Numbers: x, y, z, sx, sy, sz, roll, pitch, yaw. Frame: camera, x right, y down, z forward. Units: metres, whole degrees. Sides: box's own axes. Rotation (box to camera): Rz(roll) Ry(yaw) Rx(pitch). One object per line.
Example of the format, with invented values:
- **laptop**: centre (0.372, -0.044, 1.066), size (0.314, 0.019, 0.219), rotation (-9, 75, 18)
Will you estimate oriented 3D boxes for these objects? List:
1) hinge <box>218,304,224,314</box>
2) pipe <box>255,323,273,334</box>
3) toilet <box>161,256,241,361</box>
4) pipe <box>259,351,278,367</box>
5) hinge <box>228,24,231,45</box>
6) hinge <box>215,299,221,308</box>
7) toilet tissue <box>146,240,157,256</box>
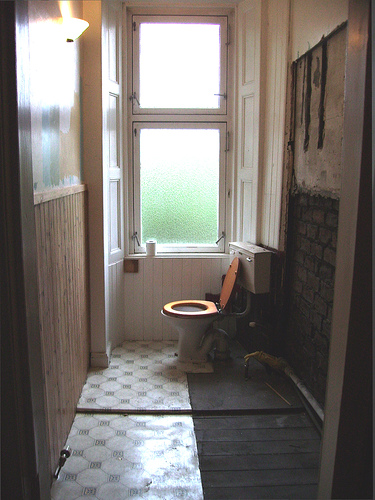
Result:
- **hinge**: centre (0.198, 0.353, 2.198), size (0.031, 0.053, 0.087), rotation (3, 4, -1)
- **pipe**: centre (0.475, 0.495, 2.296), size (0.070, 0.055, 0.190), rotation (4, 5, -9)
- **toilet**: centre (0.080, 0.361, 2.548), size (0.538, 1.034, 0.421), rotation (1, 5, -1)
- **pipe**: centre (0.444, 0.603, 1.987), size (0.020, 0.064, 0.079), rotation (-17, 37, -40)
- **hinge**: centre (0.281, -1.432, 2.428), size (0.024, 0.119, 0.015), rotation (3, 3, 10)
- **hinge**: centre (0.200, 0.344, 2.364), size (0.021, 0.054, 0.044), rotation (1, 2, -2)
- **toilet tissue**: centre (-0.253, -0.022, 2.582), size (0.066, 0.106, 0.083), rotation (3, 20, 3)
